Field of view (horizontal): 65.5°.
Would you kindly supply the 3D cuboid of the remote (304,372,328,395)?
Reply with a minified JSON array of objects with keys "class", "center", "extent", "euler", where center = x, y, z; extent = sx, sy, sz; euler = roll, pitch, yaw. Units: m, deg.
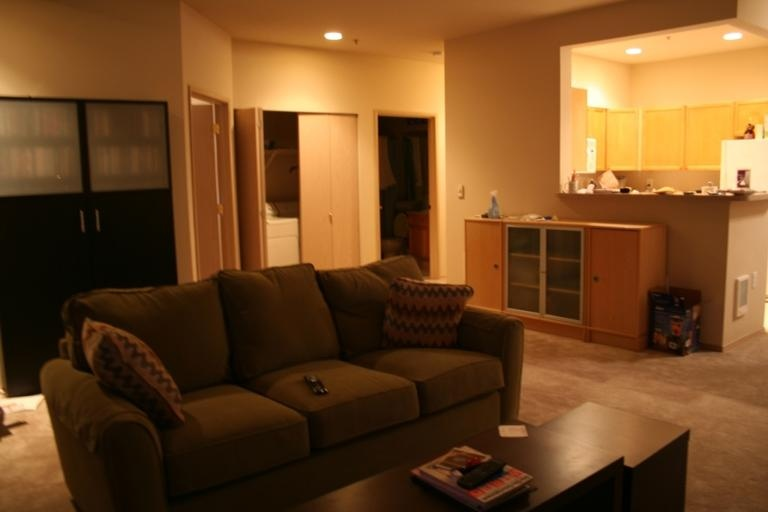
[{"class":"remote","center":[-0.435,0.818,3.830],"extent":[0.081,0.032,0.151],"euler":[-6,26,-27]}]

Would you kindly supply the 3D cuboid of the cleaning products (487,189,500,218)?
[{"class":"cleaning products","center":[1.291,-0.609,6.996],"extent":[0.134,0.306,0.503],"euler":[-1,7,11]}]

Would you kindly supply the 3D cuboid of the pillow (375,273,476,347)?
[{"class":"pillow","center":[0.298,0.388,4.479],"extent":[0.564,0.515,0.168],"euler":[4,-1,-4]}]

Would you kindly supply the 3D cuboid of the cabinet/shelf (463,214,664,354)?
[{"class":"cabinet/shelf","center":[1.776,0.241,6.513],"extent":[1.924,1.121,0.571],"euler":[5,8,29]}]

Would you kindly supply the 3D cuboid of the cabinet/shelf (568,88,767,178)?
[{"class":"cabinet/shelf","center":[3.746,-1.576,7.977],"extent":[2.175,0.884,0.882],"euler":[-1,7,7]}]

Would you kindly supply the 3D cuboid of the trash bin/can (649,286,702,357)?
[{"class":"trash bin/can","center":[2.872,0.631,5.928],"extent":[0.401,0.598,0.331],"euler":[4,10,43]}]
